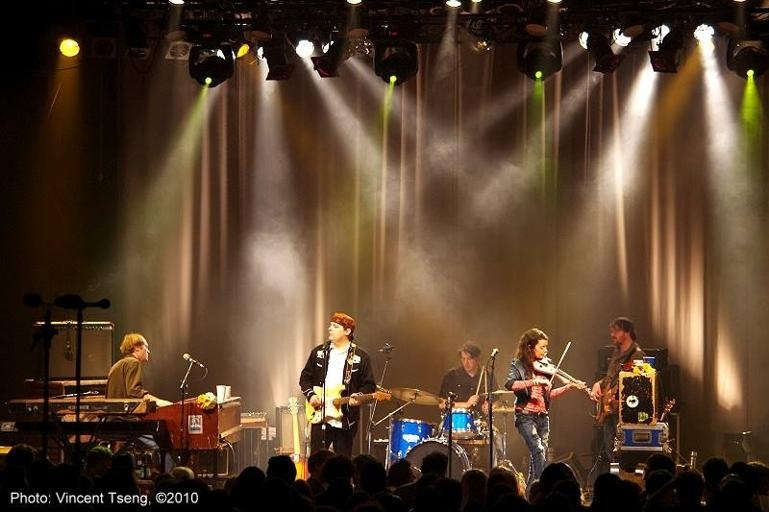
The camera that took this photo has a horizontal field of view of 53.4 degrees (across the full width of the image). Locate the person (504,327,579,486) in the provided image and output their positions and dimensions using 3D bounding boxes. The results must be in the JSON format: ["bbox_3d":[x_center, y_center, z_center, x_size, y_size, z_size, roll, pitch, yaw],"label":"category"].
[{"bbox_3d":[2.223,2.305,10.809,0.928,2.306,0.958,-2,-2,22],"label":"person"}]

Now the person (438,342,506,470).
[{"bbox_3d":[1.331,2.106,11.752,0.973,2.097,0.964,8,7,17],"label":"person"}]

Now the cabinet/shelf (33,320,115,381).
[{"bbox_3d":[-4.438,1.369,11.096,1.224,1.095,0.622,0,-5,1],"label":"cabinet/shelf"}]

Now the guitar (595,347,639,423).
[{"bbox_3d":[3.472,1.933,11.582,0.566,1.150,0.596,0,1,1],"label":"guitar"}]

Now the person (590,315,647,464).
[{"bbox_3d":[3.513,2.052,11.685,0.919,2.245,0.865,0,0,15],"label":"person"}]

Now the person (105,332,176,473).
[{"bbox_3d":[-3.481,2.092,11.019,0.925,1.894,1.082,-6,-15,43],"label":"person"}]

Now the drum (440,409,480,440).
[{"bbox_3d":[1.071,2.391,10.951,0.538,0.334,0.517,0,-12,0],"label":"drum"}]

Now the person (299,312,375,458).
[{"bbox_3d":[-0.642,1.870,10.829,1.032,2.171,0.794,1,-4,-5],"label":"person"}]

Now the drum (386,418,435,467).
[{"bbox_3d":[0.303,2.669,11.072,0.755,0.698,0.729,6,-12,-6],"label":"drum"}]

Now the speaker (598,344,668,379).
[{"bbox_3d":[3.853,1.618,11.792,0.900,0.488,0.618,-7,-7,40],"label":"speaker"}]

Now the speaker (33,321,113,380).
[{"bbox_3d":[-4.437,1.367,11.080,1.185,1.071,0.597,0,-6,1],"label":"speaker"}]

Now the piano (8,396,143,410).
[{"bbox_3d":[-4.028,1.956,10.151,1.656,0.197,0.707,6,-12,-19],"label":"piano"}]
